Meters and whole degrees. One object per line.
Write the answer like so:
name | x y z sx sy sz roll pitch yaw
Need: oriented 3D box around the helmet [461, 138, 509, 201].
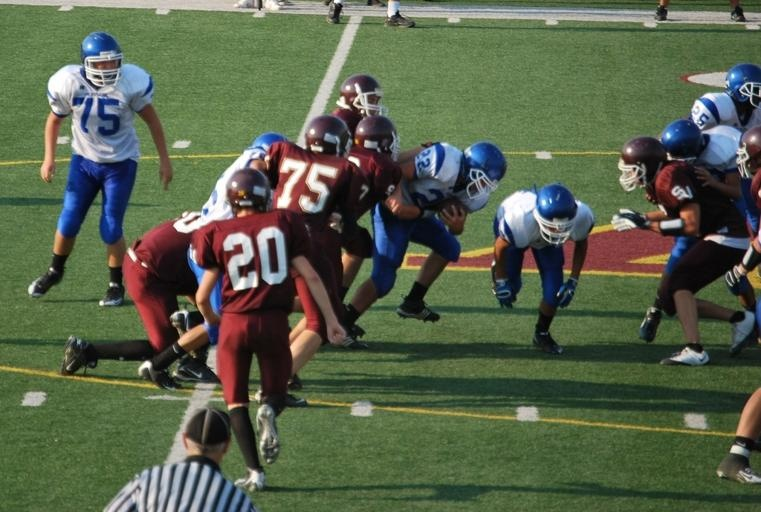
helmet | 0.802 -0.639 8.047 0.362 0.361 0.436 9 20 -18

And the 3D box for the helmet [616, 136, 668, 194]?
helmet | 1.922 -0.696 8.008 0.418 0.305 0.295 -19 21 -19

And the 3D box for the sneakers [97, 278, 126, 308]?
sneakers | -2.042 0.314 8.243 0.119 0.126 0.278 6 1 3

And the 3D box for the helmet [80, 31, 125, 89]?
helmet | -2.125 -1.520 8.252 0.334 0.356 0.409 -8 32 -22

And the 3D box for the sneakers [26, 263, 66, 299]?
sneakers | -2.635 0.208 8.282 0.406 0.132 0.171 -37 -1 -34

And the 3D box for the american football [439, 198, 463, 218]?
american football | 0.540 -0.345 7.915 0.158 0.105 0.111 -13 6 33

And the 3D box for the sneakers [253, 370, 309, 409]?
sneakers | -0.685 0.912 7.279 0.527 0.259 0.165 -1 13 -8

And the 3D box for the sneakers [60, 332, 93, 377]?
sneakers | -2.062 0.679 7.343 0.211 0.331 0.224 -5 22 -25

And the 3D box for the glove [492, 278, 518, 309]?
glove | 0.944 0.284 8.102 0.180 0.200 0.092 -16 1 38

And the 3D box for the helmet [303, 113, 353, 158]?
helmet | -0.373 -0.827 7.438 0.376 0.304 0.416 8 15 11

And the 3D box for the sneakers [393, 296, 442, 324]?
sneakers | 0.264 0.403 8.311 0.439 0.200 0.127 7 34 -9

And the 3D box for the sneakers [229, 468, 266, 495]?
sneakers | -0.821 1.348 6.483 0.256 0.149 0.089 9 18 30

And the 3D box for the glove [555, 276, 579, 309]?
glove | 1.349 0.273 7.896 0.167 0.217 0.107 19 13 1

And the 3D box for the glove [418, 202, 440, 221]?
glove | 0.360 -0.326 8.063 0.141 0.088 0.038 4 46 25

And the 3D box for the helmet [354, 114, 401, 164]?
helmet | -0.057 -0.840 7.816 0.336 0.299 0.383 9 8 20

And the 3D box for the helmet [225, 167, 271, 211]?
helmet | -0.819 -0.338 6.620 0.304 0.279 0.331 -2 -19 -5

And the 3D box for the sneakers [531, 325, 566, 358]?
sneakers | 1.215 0.637 7.934 0.260 0.102 0.134 25 41 36

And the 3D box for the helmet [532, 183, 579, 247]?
helmet | 1.205 -0.262 7.697 0.377 0.338 0.397 -4 55 0

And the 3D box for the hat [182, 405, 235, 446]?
hat | -0.893 0.891 5.643 0.272 0.154 0.309 -5 30 -11

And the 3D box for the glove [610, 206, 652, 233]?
glove | 1.857 -0.285 8.114 0.223 0.153 0.084 1 48 46

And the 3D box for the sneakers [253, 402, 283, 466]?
sneakers | -0.673 1.081 6.502 0.161 0.348 0.164 -10 4 -4

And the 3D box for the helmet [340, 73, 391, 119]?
helmet | -0.144 -1.262 8.499 0.451 0.289 0.312 4 15 7
